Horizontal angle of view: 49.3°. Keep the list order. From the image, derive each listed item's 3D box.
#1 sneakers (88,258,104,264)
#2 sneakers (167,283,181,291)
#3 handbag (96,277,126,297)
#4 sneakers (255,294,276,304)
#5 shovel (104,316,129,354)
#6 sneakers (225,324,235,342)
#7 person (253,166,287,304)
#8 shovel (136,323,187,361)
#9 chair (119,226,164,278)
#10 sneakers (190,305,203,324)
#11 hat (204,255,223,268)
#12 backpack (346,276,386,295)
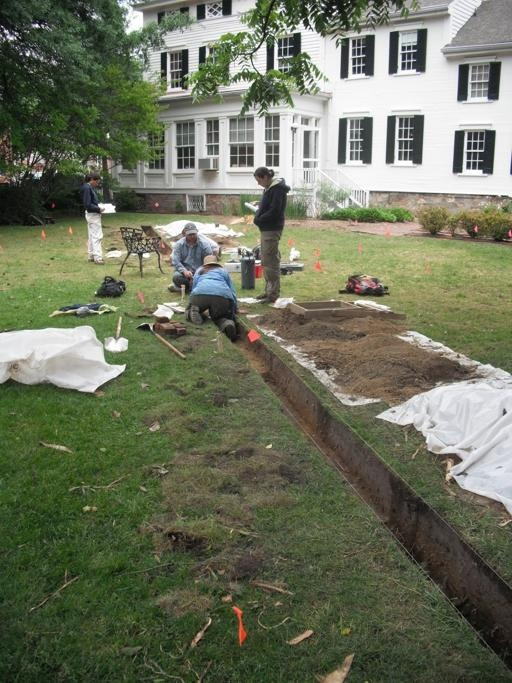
[{"bbox_3d":[-3.451,-1.721,12.075,0.150,0.183,0.431,-8,9,-39],"label":"sneakers"},{"bbox_3d":[-1.358,-0.888,9.298,0.098,0.104,0.250,6,-4,28],"label":"sneakers"},{"bbox_3d":[-2.292,-0.845,8.876,0.323,0.185,0.439,0,16,-10],"label":"handbag"},{"bbox_3d":[0.169,-0.664,8.881,0.180,0.111,0.242,0,2,10],"label":"sneakers"},{"bbox_3d":[-1.644,-0.064,6.565,0.235,0.066,0.657,5,21,-9],"label":"shovel"},{"bbox_3d":[-0.315,-0.109,7.128,0.114,0.190,0.048,-6,13,-14],"label":"sneakers"},{"bbox_3d":[0.214,-1.593,8.594,0.499,2.014,0.488,2,12,4],"label":"person"},{"bbox_3d":[-1.079,-0.011,6.492,0.288,0.139,1.190,-11,21,-23],"label":"shovel"},{"bbox_3d":[-2.257,-1.905,11.306,0.636,0.813,0.618,16,24,39],"label":"chair"},{"bbox_3d":[-0.792,-0.347,7.437,0.179,0.231,0.215,0,11,-9],"label":"sneakers"},{"bbox_3d":[-0.628,-1.117,7.865,0.272,0.104,0.279,0,12,-2],"label":"hat"},{"bbox_3d":[1.803,-0.896,9.080,0.696,0.318,0.395,3,11,10],"label":"backpack"}]
